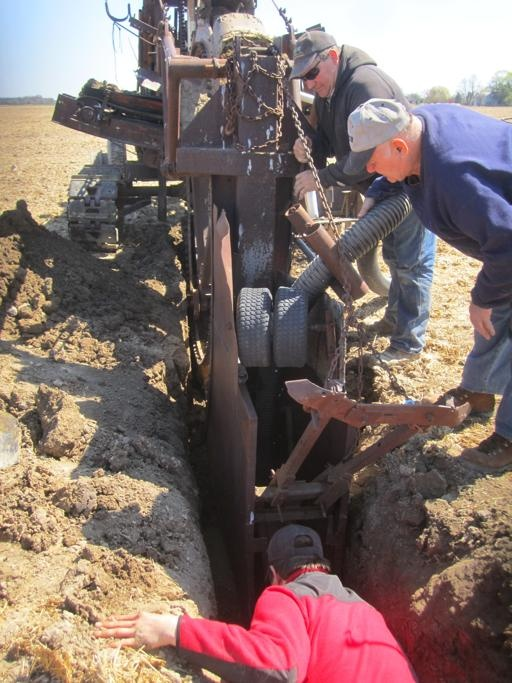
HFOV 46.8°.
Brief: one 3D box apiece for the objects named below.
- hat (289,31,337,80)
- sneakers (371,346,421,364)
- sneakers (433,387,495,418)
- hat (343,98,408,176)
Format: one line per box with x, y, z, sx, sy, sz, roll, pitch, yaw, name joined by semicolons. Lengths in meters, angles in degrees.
0.376;-1.901;3.896;0.289;0.308;0.238;3;18;3;hat
1.072;0.110;4.649;0.403;0.163;0.141;-5;28;1;sneakers
1.170;0.336;3.308;0.396;0.127;0.172;6;-22;-18;sneakers
0.564;-0.949;2.741;0.277;0.330;0.221;5;19;10;hat
